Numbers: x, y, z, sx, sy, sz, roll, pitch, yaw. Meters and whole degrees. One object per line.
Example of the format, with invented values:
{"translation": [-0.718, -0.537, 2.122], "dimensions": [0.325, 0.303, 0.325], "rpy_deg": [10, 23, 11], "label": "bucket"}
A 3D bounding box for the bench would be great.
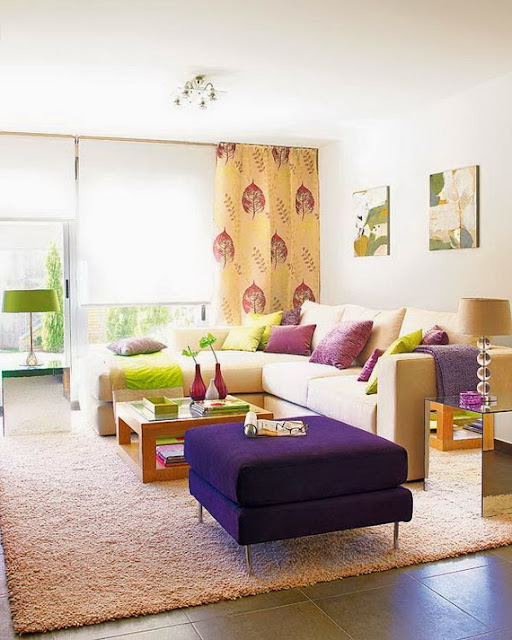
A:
{"translation": [0.153, 0.567, 2.085], "dimensions": [0.556, 0.319, 0.602], "rpy_deg": [-3, 7, -22], "label": "bench"}

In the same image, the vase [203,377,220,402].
{"translation": [-0.270, 0.448, 3.483], "dimensions": [0.109, 0.154, 0.106], "rpy_deg": [3, -3, -20], "label": "vase"}

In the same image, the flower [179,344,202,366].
{"translation": [-0.530, 0.279, 4.389], "dimensions": [0.184, 0.176, 0.173], "rpy_deg": [-5, -12, 1], "label": "flower"}

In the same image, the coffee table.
{"translation": [-0.428, 0.736, 3.552], "dimensions": [0.852, 0.357, 0.859], "rpy_deg": [0, 0, -19], "label": "coffee table"}

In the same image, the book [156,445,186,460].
{"translation": [-0.509, 0.790, 3.290], "dimensions": [0.188, 0.037, 0.191], "rpy_deg": [1, 4, -11], "label": "book"}

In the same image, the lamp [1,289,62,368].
{"translation": [-1.884, 0.059, 4.703], "dimensions": [0.415, 0.632, 0.656], "rpy_deg": [0, -1, -8], "label": "lamp"}
